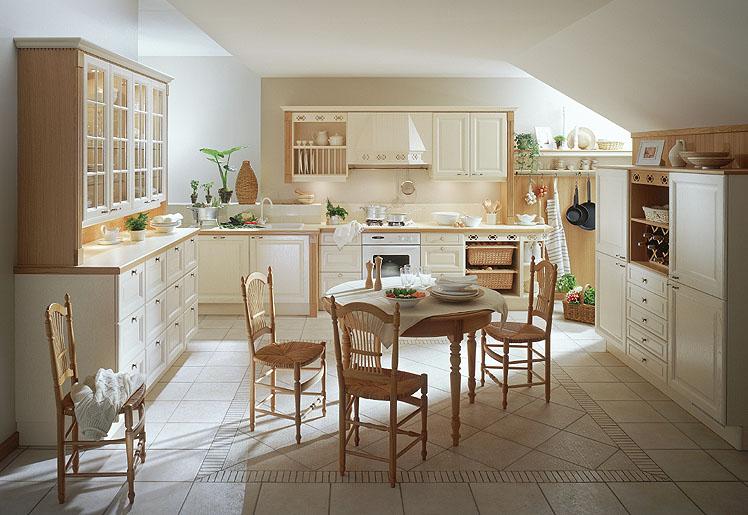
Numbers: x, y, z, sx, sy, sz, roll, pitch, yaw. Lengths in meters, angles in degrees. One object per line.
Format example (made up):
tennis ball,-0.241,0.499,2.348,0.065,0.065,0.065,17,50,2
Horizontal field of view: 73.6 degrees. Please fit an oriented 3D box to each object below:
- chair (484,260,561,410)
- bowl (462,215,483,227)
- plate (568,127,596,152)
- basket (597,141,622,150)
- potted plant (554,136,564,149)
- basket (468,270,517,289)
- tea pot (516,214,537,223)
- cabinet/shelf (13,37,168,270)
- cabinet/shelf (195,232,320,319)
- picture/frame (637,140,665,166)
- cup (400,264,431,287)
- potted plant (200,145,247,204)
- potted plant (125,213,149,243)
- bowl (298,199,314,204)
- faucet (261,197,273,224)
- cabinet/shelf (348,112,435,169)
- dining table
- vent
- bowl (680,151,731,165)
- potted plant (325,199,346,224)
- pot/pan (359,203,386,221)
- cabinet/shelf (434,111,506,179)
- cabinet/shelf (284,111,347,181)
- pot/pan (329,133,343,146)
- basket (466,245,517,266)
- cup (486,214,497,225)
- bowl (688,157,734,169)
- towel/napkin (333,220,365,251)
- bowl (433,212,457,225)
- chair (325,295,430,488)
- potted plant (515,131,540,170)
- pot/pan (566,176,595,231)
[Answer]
chair,1.272,0.629,4.495,0.752,1.214,0.758,2,5,41
bowl,1.409,-0.509,7.021,0.291,0.137,0.164,-11,16,-41
plate,3.058,-1.749,7.347,0.411,0.338,0.207,2,12,11
basket,3.440,-1.633,7.287,0.358,0.135,0.130,-2,12,-7
potted plant,2.706,-1.688,7.301,0.138,0.176,0.154,4,13,19
basket,1.674,0.294,6.993,0.659,0.239,0.466,-1,3,-3
tea pot,2.185,-0.560,7.214,0.223,0.123,0.256,3,12,13
cabinet/shelf,-2.385,-0.919,4.557,0.512,1.662,1.886,5,11,-4
cabinet/shelf,-1.587,0.177,7.061,1.634,1.239,0.973,1,4,-10
picture/frame,2.799,-1.056,5.050,0.023,0.320,0.322,16,-2,-20
cup,0.351,0.149,4.200,0.174,0.153,0.205,0,-4,-1
potted plant,-2.155,-1.198,7.259,0.584,0.778,0.507,-3,5,-28
potted plant,-2.241,-0.283,4.922,0.275,0.359,0.321,-1,1,-14
bowl,-0.989,-0.832,7.381,0.193,0.067,0.106,-2,12,-9
faucet,-1.531,-0.672,7.168,0.169,0.359,0.474,1,12,4
cabinet/shelf,0.217,-1.673,7.306,1.186,0.743,0.647,0,-4,-7
dining table,0.371,0.813,3.824,1.232,0.881,1.246,-1,5,-1
vent,0.164,-1.711,7.324,1.229,0.761,0.645,-2,2,-15
bowl,2.754,-0.831,4.142,0.206,0.063,0.202,-1,1,0
potted plant,-0.511,-0.680,7.324,0.339,0.346,0.342,0,4,-1
pot/pan,0.022,-0.642,7.268,0.398,0.274,0.255,0,-2,2
cabinet/shelf,1.324,-1.639,7.055,0.908,0.793,0.351,0,1,1
cabinet/shelf,-0.797,-1.585,7.157,0.985,1.092,0.312,0,3,-2
pot/pan,-0.519,-1.678,7.102,0.181,0.158,0.145,0,4,-1
basket,1.632,-0.035,6.954,0.473,0.190,0.336,0,0,0
cup,1.705,-0.567,7.250,0.172,0.127,0.109,0,1,-8
bowl,2.752,-0.785,4.115,0.291,0.088,0.155,7,14,31
towel/napkin,-0.322,-0.310,6.739,0.419,0.359,0.203,-1,12,-6
bowl,1.034,-0.562,7.153,0.329,0.178,0.205,1,12,6
chair,0.025,0.843,3.507,0.733,1.210,0.705,1,12,6
potted plant,2.239,-1.567,7.313,0.242,0.522,0.400,-2,5,-6
pot/pan,3.072,-0.788,7.455,0.401,0.717,0.179,3,12,15
